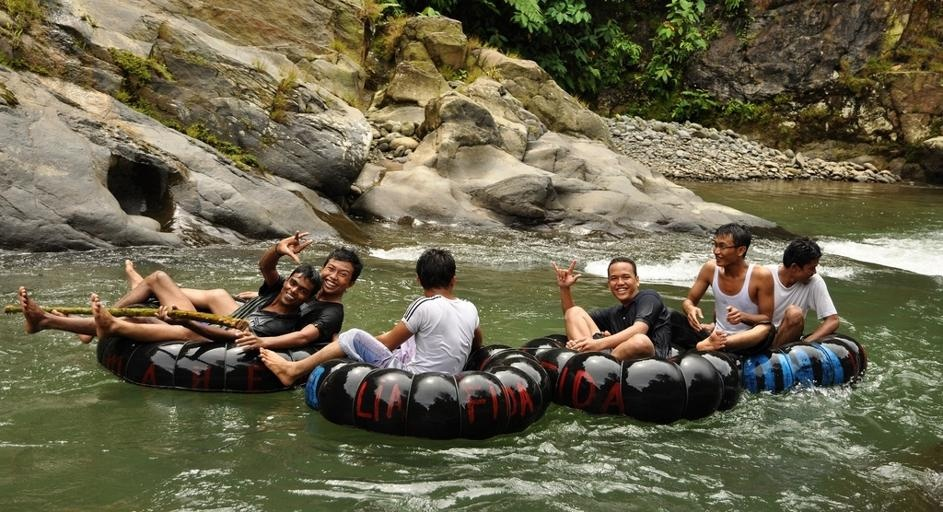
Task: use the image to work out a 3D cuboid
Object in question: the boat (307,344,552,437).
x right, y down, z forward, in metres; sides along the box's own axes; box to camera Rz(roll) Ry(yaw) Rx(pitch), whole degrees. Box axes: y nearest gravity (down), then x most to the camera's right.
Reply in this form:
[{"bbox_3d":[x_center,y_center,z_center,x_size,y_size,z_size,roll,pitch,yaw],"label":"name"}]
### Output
[{"bbox_3d":[-0.490,1.780,8.980,3.180,0.711,3.030,0,2,-40],"label":"boat"}]
